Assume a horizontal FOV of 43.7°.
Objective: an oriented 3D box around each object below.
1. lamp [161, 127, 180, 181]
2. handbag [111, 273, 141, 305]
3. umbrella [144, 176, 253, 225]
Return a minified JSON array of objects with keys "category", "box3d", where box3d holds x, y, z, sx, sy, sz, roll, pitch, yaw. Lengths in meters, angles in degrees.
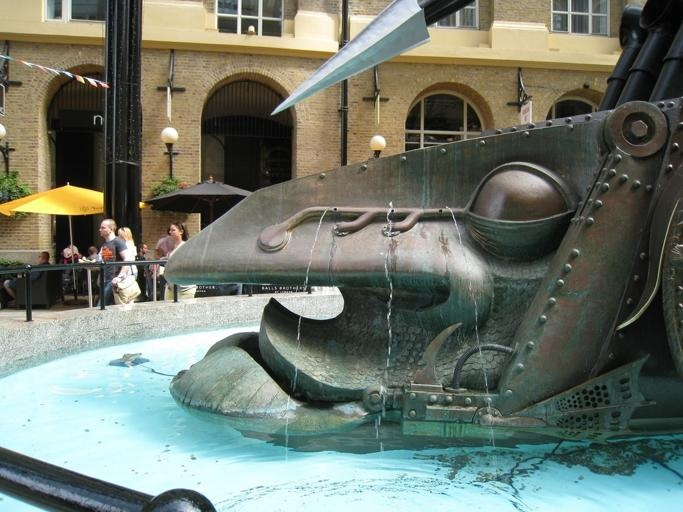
[{"category":"lamp","box3d":[-4.242,-2.588,21.310,0.423,1.280,1.265,-2,13,-11]},{"category":"handbag","box3d":[-3.153,0.467,12.429,0.201,0.392,0.396,-8,6,34]},{"category":"umbrella","box3d":[-3.210,-1.252,19.119,1.682,0.806,1.677,0,2,20]}]
